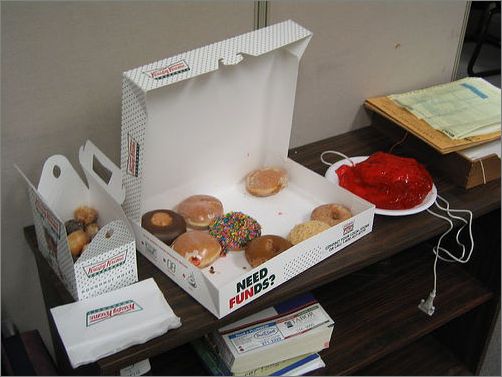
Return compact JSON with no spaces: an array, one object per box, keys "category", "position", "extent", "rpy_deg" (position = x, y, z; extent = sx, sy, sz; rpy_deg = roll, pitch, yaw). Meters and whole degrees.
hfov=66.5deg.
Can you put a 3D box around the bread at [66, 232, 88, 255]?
[{"category":"bread","position":[-0.348,0.108,0.774],"extent":[0.036,0.033,0.046],"rpy_deg":[-18,44,-15]}]

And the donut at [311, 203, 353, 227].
[{"category":"donut","position":[0.179,0.058,0.865],"extent":[0.058,0.019,0.058],"rpy_deg":[-17,26,-28]}]

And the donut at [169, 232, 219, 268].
[{"category":"donut","position":[-0.113,0.127,0.802],"extent":[0.081,0.052,0.082],"rpy_deg":[29,51,31]}]

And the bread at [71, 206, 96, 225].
[{"category":"bread","position":[-0.352,0.055,0.814],"extent":[0.039,0.014,0.039],"rpy_deg":[7,42,-9]}]
